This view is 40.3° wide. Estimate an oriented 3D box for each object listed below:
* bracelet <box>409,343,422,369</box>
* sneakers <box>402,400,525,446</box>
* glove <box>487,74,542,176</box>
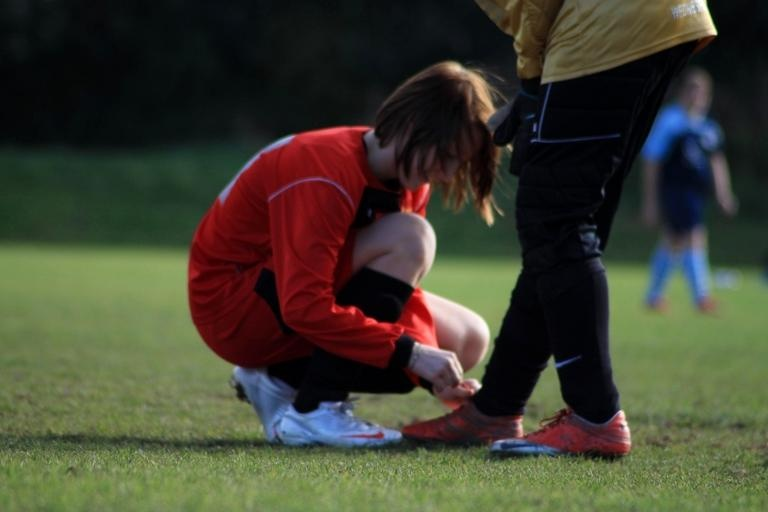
[{"bbox_3d":[0.152,0.505,5.297,0.023,0.107,0.099,9,20,7],"label":"bracelet"},{"bbox_3d":[0.412,0.892,5.534,0.658,0.292,0.226,2,-8,2],"label":"sneakers"},{"bbox_3d":[0.674,-0.668,5.296,0.161,0.412,0.401,14,17,-26],"label":"glove"}]
